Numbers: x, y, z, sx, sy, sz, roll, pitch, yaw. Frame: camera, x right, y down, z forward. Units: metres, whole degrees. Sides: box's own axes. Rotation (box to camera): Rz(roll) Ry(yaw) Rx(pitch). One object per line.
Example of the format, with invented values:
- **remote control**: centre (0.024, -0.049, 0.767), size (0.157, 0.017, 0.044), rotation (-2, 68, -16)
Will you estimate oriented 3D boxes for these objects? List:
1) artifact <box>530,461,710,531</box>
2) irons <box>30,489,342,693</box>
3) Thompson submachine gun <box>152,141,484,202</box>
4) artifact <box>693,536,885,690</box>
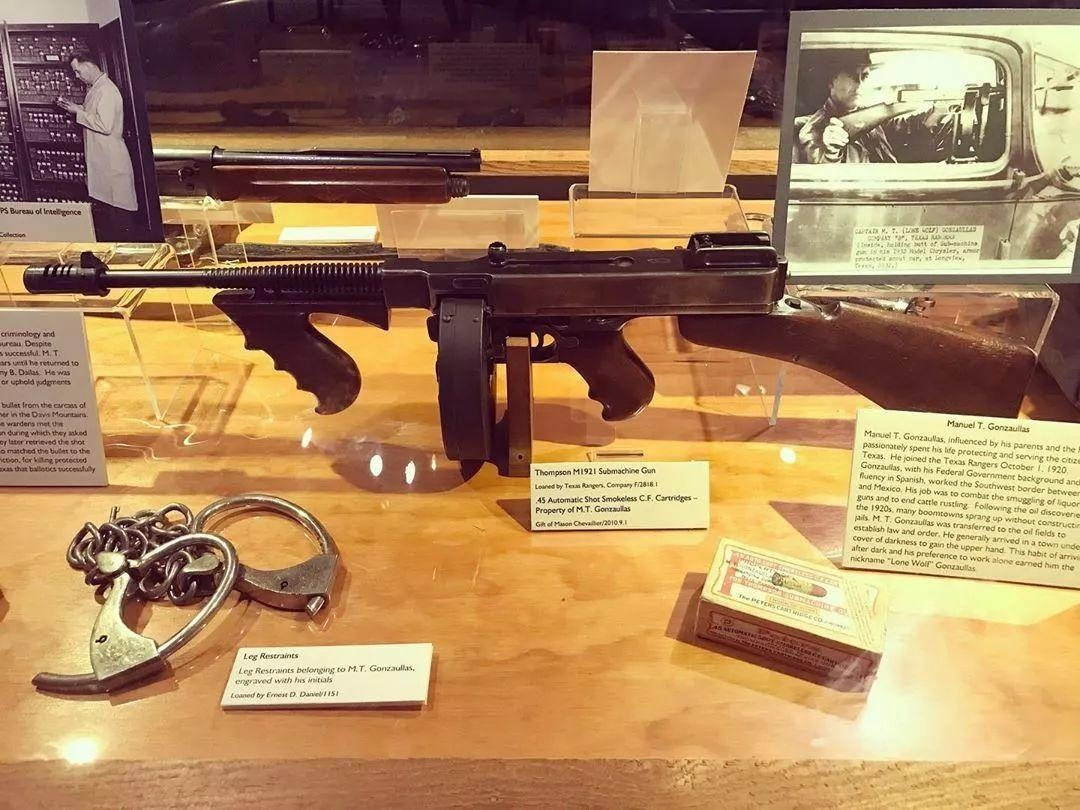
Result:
- **artifact**: centre (0.138, 0.161, 1.504), size (0.345, 0.127, 0.034), rotation (1, -3, -15)
- **irons**: centre (-0.570, 0.288, 1.409), size (0.469, 0.174, 0.322), rotation (-5, 25, -12)
- **Thompson submachine gun**: centre (-0.454, -0.547, 1.887), size (0.625, 0.138, 0.468), rotation (2, 19, 4)
- **artifact**: centre (0.393, 0.323, 1.341), size (0.273, 0.109, 0.135), rotation (13, 46, 18)
